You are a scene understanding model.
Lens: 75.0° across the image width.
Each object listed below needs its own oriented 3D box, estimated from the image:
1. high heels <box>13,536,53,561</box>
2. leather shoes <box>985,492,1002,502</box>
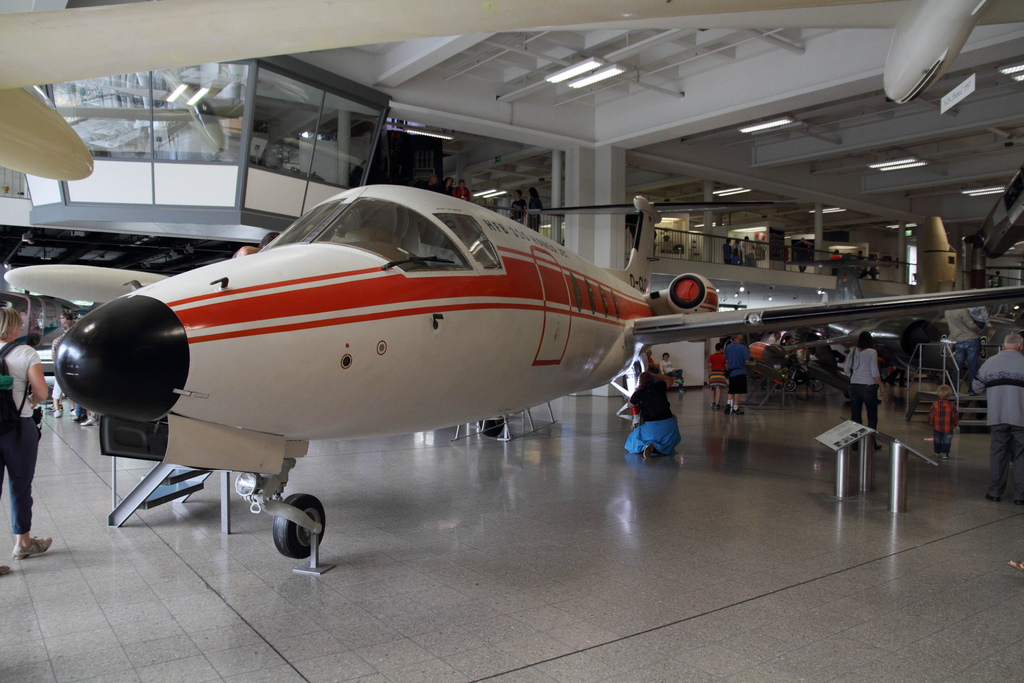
[{"bbox_3d":[-4.490,1.911,6.324,0.149,0.146,0.340,13,17,41],"label":"high heels"},{"bbox_3d":[5.839,1.881,8.118,0.064,0.060,0.152,-3,10,-4],"label":"leather shoes"}]
